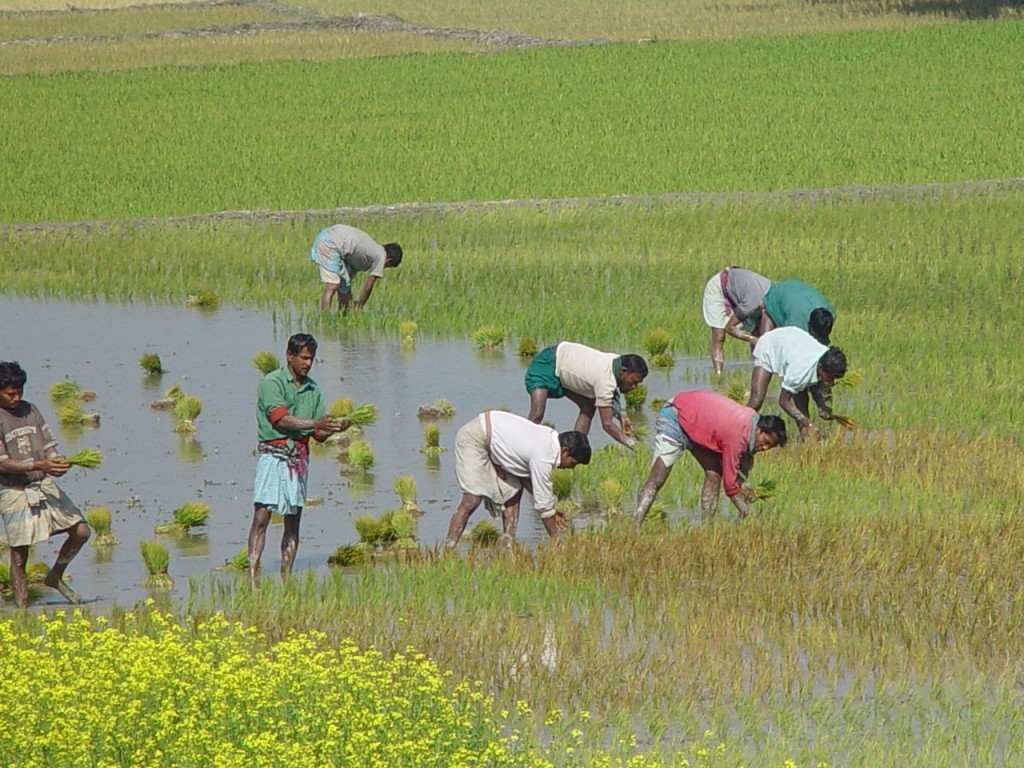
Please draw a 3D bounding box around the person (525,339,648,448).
[{"bbox_3d":[0.972,0.057,32.258,1.637,1.515,1.169,10,37,10],"label":"person"}]

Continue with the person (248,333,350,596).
[{"bbox_3d":[-2.929,0.978,29.792,1.018,3.049,1.327,18,27,37],"label":"person"}]
